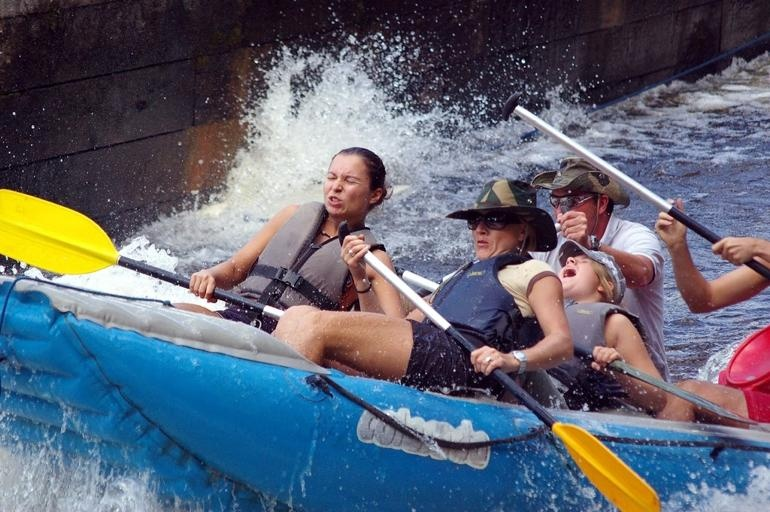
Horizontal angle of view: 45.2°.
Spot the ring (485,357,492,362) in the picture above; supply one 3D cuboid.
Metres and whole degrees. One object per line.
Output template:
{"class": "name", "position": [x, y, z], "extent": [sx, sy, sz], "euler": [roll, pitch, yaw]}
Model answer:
{"class": "ring", "position": [0.488, 0.493, 4.388], "extent": [0.018, 0.026, 0.008], "euler": [7, -8, 10]}

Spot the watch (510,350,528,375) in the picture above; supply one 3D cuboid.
{"class": "watch", "position": [0.645, 0.514, 4.433], "extent": [0.062, 0.105, 0.102], "euler": [0, 25, -8]}

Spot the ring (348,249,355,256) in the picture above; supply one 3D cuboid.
{"class": "ring", "position": [-0.173, -0.009, 4.806], "extent": [0.029, 0.029, 0.023], "euler": [1, 1, -26]}

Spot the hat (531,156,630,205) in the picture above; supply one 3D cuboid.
{"class": "hat", "position": [1.167, -0.392, 5.508], "extent": [0.381, 0.149, 0.307], "euler": [-47, 18, -29]}

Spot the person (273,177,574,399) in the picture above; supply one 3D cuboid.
{"class": "person", "position": [0.085, 0.143, 4.756], "extent": [1.603, 1.083, 0.940], "euler": [5, 1, -13]}

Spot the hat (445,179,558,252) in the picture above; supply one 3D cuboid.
{"class": "hat", "position": [0.623, -0.292, 5.051], "extent": [0.582, 0.309, 0.706], "euler": [-2, -4, 16]}

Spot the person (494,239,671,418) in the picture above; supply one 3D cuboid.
{"class": "person", "position": [0.999, 0.369, 5.037], "extent": [0.684, 0.921, 0.649], "euler": [-6, -18, 23]}
